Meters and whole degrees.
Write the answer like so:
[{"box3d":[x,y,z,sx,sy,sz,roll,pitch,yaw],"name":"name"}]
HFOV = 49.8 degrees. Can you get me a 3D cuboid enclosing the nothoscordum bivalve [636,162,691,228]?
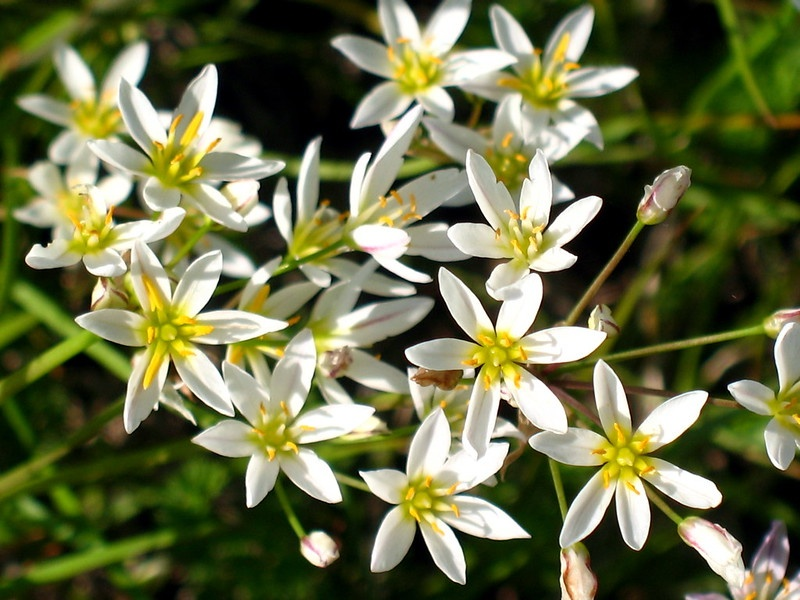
[{"box3d":[0.904,-0.384,3.006,0.142,0.085,0.220,32,-71,-14],"name":"nothoscordum bivalve"}]
